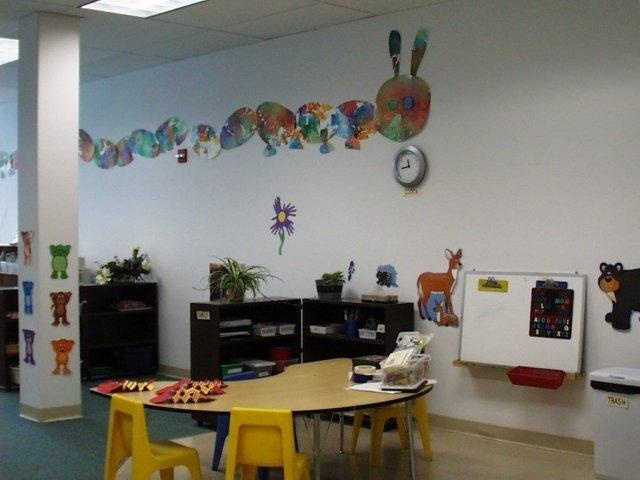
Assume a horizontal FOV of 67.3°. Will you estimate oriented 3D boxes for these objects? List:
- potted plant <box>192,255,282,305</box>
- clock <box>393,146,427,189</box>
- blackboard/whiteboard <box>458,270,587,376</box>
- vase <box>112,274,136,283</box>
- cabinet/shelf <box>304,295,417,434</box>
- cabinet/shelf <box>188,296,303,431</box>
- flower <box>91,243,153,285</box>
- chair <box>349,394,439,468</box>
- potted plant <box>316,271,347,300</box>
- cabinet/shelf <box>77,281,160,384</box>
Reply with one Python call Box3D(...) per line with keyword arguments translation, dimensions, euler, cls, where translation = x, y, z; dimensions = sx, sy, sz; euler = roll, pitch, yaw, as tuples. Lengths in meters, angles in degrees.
Box3D(translation=(-0.869, 0.429, 5.150), dimensions=(0.717, 0.426, 0.685), euler=(-2, 2, 20), cls="potted plant")
Box3D(translation=(0.921, -0.735, 4.826), dimensions=(0.378, 0.476, 0.059), euler=(-7, -5, 44), cls="clock")
Box3D(translation=(1.807, 0.726, 4.173), dimensions=(0.882, 0.769, 0.176), euler=(2, -2, 40), cls="blackboard/whiteboard")
Box3D(translation=(-2.791, 0.555, 6.927), dimensions=(0.336, 0.116, 0.214), euler=(4, -4, -41), cls="vase")
Box3D(translation=(0.366, 1.038, 4.002), dimensions=(1.209, 1.240, 0.410), euler=(0, -2, 39), cls="cabinet/shelf")
Box3D(translation=(-0.885, 1.085, 5.130), dimensions=(0.397, 1.027, 1.031), euler=(-2, 4, 24), cls="cabinet/shelf")
Box3D(translation=(-2.846, 0.369, 6.998), dimensions=(0.738, 0.439, 0.261), euler=(-14, 9, -6), cls="flower")
Box3D(translation=(0.642, 1.642, 4.079), dimensions=(0.612, 0.447, 0.673), euler=(0, -22, -8), cls="chair")
Box3D(translation=(0.120, 0.484, 5.070), dimensions=(0.281, 0.265, 0.260), euler=(8, -10, -41), cls="potted plant")
Box3D(translation=(-2.799, 1.265, 6.699), dimensions=(1.348, 1.395, 0.520), euler=(0, -2, -39), cls="cabinet/shelf")
